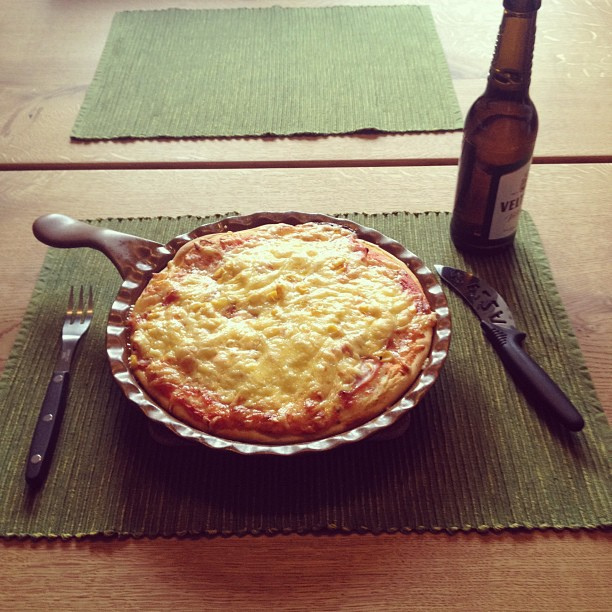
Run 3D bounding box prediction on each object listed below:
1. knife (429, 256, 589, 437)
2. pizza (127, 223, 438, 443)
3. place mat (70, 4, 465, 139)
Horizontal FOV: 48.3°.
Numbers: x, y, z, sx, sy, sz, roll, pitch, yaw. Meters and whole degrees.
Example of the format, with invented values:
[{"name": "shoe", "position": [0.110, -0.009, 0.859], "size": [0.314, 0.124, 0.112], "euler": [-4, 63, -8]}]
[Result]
[{"name": "knife", "position": [0.305, 0.056, 1.059], "size": [0.090, 0.019, 0.366], "euler": [-24, 36, -17]}, {"name": "pizza", "position": [-0.036, 0.015, 0.989], "size": [0.491, 0.050, 0.304], "euler": [-8, 75, 23]}, {"name": "place mat", "position": [-0.089, -0.603, 1.681], "size": [0.857, 0.085, 0.628], "euler": [-2, 53, 3]}]
